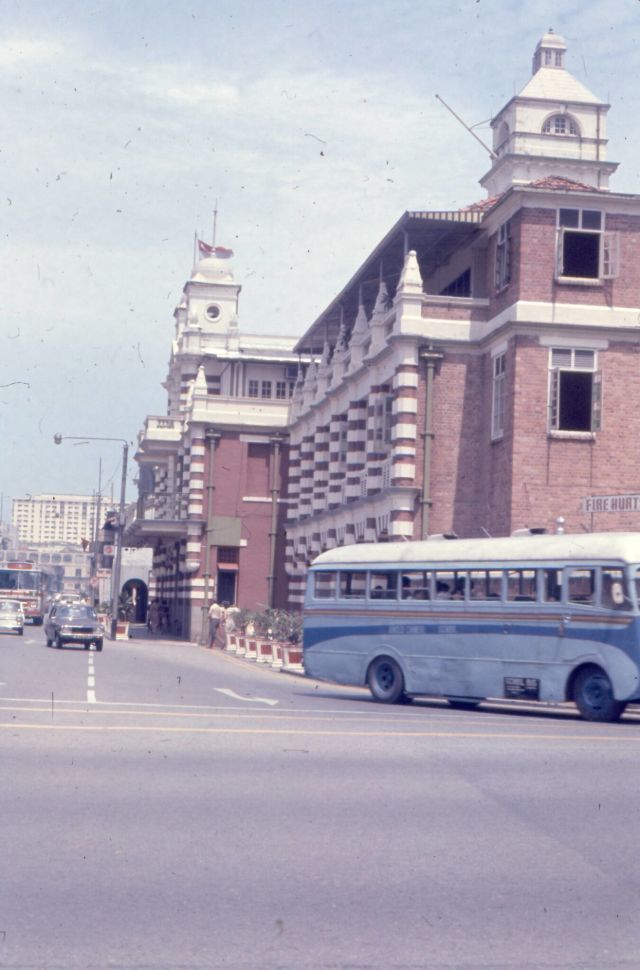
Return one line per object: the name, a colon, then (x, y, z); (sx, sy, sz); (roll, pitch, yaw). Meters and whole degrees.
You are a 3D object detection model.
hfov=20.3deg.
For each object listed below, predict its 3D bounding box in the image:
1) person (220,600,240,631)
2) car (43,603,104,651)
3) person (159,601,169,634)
person: (-2.809, 4.135, 55.175); (0.603, 0.858, 0.669); (0, -2, 3)
car: (-5.880, 3.327, 42.349); (0.781, 0.770, 1.748); (2, -7, -19)
person: (-5.629, 4.903, 64.502); (0.390, 0.981, 1.422); (3, -6, -6)
